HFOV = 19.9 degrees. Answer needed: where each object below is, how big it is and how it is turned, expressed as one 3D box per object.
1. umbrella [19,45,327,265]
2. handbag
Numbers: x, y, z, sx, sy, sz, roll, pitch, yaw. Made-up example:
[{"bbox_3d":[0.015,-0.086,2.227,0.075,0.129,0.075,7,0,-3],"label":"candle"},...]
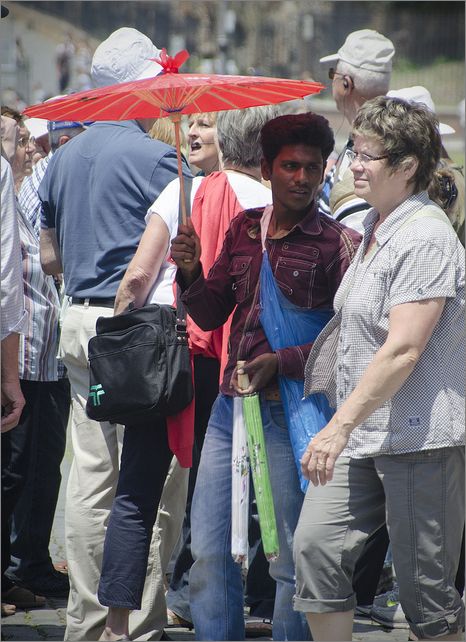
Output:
[{"bbox_3d":[-0.218,-0.645,5.130,1.097,0.795,0.918,-13,11,-29],"label":"umbrella"},{"bbox_3d":[-0.387,-0.068,5.306,0.391,1.002,0.286,-12,-19,29],"label":"handbag"}]
